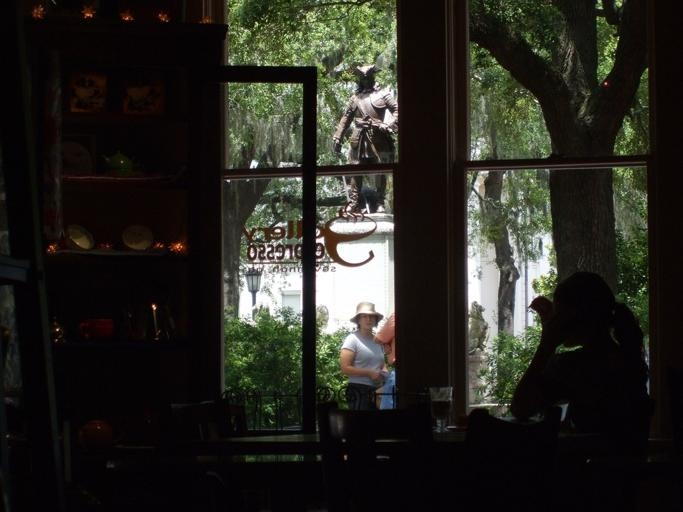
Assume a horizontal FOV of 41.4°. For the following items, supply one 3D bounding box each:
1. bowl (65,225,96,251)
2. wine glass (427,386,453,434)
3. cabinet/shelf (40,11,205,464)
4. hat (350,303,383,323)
[{"bbox_3d":[-1.403,-0.100,4.851,0.051,0.137,0.137,-29,-26,30],"label":"bowl"},{"bbox_3d":[0.493,0.739,4.349,0.147,0.253,0.151,-2,-7,8],"label":"wine glass"},{"bbox_3d":[-1.152,-0.107,4.750,0.814,2.169,0.558,0,-4,-11],"label":"cabinet/shelf"},{"bbox_3d":[0.146,0.308,5.176,0.130,0.073,0.122,18,-23,-40],"label":"hat"}]
